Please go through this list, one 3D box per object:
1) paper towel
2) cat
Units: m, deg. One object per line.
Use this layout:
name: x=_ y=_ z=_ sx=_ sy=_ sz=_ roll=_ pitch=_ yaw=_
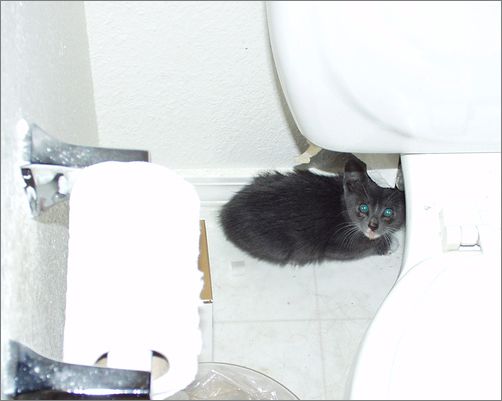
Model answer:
paper towel: x=-0.162 y=0.103 z=0.717 sx=0.179 sy=0.053 sz=0.318 roll=0 pitch=77 yaw=-5
cat: x=0.163 y=0.049 z=1.300 sx=0.380 sy=0.193 sz=0.258 roll=-7 pitch=76 yaw=2
